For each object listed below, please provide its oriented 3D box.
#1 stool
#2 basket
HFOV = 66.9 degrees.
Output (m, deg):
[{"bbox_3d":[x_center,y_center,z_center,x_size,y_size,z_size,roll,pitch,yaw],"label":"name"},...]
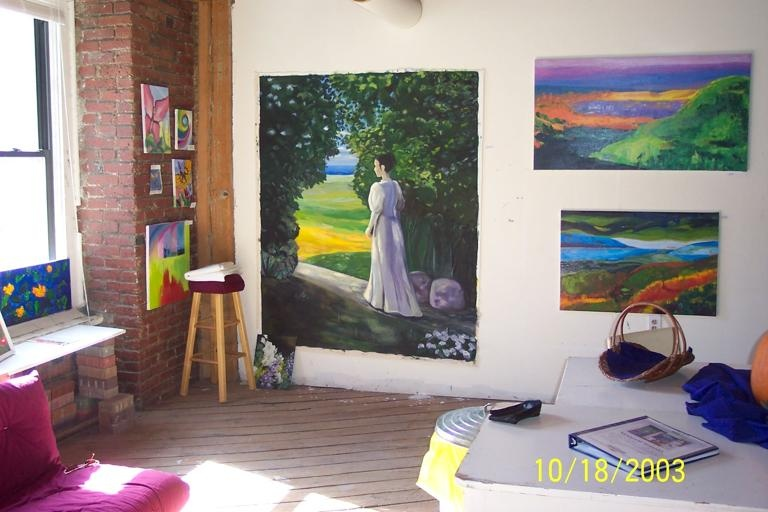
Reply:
[{"bbox_3d":[-1.652,0.741,5.725,0.733,1.193,0.618,4,10,23],"label":"stool"},{"bbox_3d":[1.679,0.549,3.660,0.481,0.447,0.644,-7,-4,41],"label":"basket"}]
